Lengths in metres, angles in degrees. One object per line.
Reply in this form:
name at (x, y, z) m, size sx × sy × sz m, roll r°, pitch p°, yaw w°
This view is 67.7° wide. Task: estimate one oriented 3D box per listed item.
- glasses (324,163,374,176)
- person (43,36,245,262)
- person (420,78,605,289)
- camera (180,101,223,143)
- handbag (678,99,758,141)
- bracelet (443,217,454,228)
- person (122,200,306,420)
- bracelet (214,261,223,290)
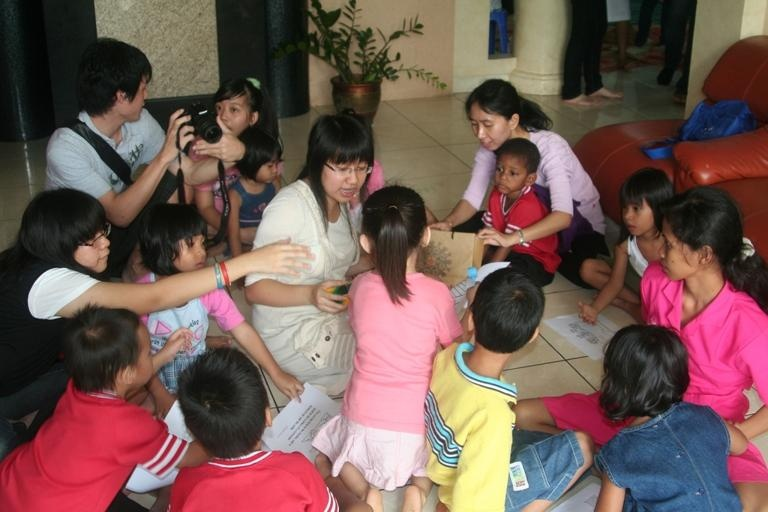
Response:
glasses at (-0.148, -0.361, 2.353) m, size 0.202 × 0.055 × 0.082 m, roll -3°, pitch 17°, yaw -16°
person at (-1.228, -0.500, 2.947) m, size 1.033 × 1.095 × 0.691 m, roll 7°, pitch 27°, yaw -5°
person at (0.672, -0.437, 3.123) m, size 1.019 × 1.020 × 0.908 m, roll 7°, pitch 29°, yaw 20°
camera at (-0.880, -0.649, 2.777) m, size 0.171 × 0.185 × 0.205 m, roll -6°, pitch 18°, yaw -23°
handbag at (1.928, -0.783, 3.278) m, size 0.353 × 0.132 × 0.282 m, roll -23°, pitch 34°, yaw 0°
bracelet at (0.359, -0.184, 3.133) m, size 0.069 × 0.052 × 0.022 m, roll 22°, pitch -22°, yaw -22°
person at (-0.706, 0.212, 2.260) m, size 0.691 × 0.696 × 0.486 m, roll -2°, pitch 0°, yaw 26°
bracelet at (-0.616, 0.067, 2.134) m, size 0.019 × 0.073 × 0.073 m, roll -8°, pitch 39°, yaw 2°
